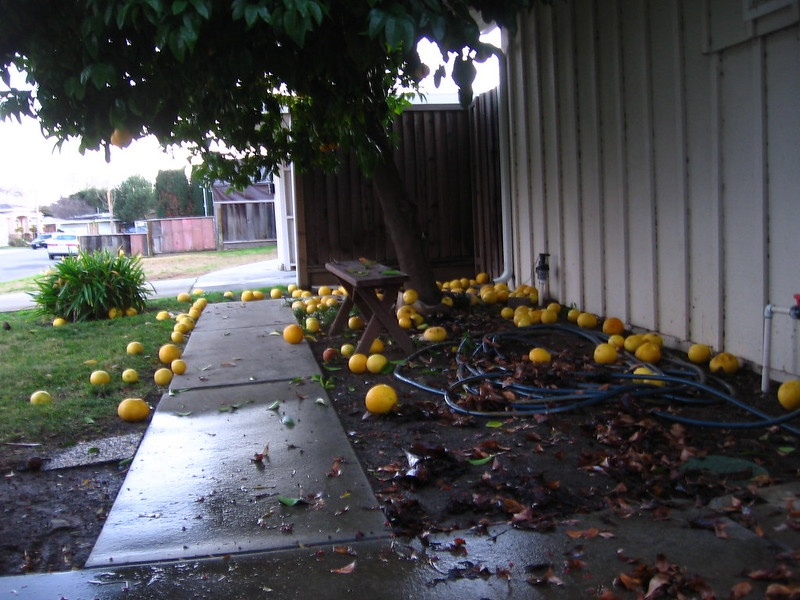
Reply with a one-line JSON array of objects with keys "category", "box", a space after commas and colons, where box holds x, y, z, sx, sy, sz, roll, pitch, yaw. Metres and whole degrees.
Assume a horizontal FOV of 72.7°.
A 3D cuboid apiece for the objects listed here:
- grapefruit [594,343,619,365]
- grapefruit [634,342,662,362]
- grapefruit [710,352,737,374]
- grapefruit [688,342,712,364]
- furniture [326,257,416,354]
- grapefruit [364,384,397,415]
[{"category": "grapefruit", "box": [1.667, 0.420, 4.407, 0.159, 0.175, 0.161, 7, 30, 16]}, {"category": "grapefruit", "box": [1.979, 0.402, 4.335, 0.152, 0.159, 0.157, 6, 12, 32]}, {"category": "grapefruit", "box": [2.400, 0.476, 4.041, 0.145, 0.146, 0.149, 2, 24, 27]}, {"category": "grapefruit", "box": [2.398, 0.421, 4.358, 0.158, 0.128, 0.147, -1, 8, -44]}, {"category": "furniture", "box": [-0.310, 0.074, 5.481, 0.576, 0.778, 1.430, -7, 12, -18]}, {"category": "grapefruit", "box": [-0.141, 0.686, 3.815, 0.188, 0.227, 0.180, 2, -4, -29]}]
